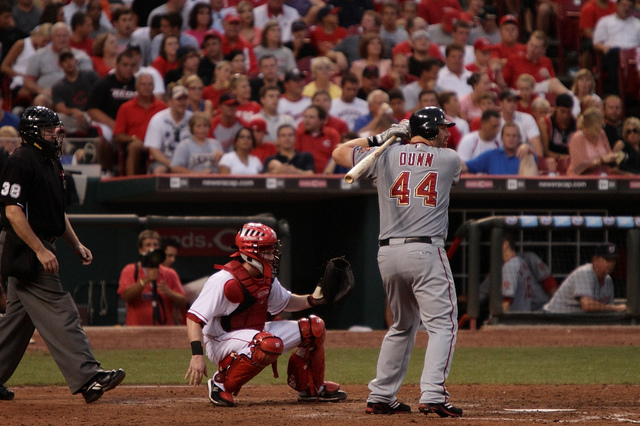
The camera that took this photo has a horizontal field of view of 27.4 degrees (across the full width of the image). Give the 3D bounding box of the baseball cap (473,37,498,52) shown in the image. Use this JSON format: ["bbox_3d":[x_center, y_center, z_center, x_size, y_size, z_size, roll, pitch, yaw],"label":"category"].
[{"bbox_3d":[2.652,-2.740,21.195,0.248,0.195,0.372,2,15,-31],"label":"baseball cap"}]

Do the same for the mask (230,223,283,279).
[{"bbox_3d":[-0.683,0.423,14.253,0.500,0.576,0.214,1,3,-5],"label":"mask"}]

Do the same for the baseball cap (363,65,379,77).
[{"bbox_3d":[0.786,-2.145,19.960,0.229,0.202,0.322,3,3,23],"label":"baseball cap"}]

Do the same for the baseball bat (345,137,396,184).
[{"bbox_3d":[0.553,-0.564,14.100,0.824,0.094,0.092,-39,21,-34],"label":"baseball bat"}]

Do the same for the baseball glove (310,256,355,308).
[{"bbox_3d":[0.116,0.756,14.417,0.561,0.424,0.250,-35,27,-11],"label":"baseball glove"}]

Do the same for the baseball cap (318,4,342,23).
[{"bbox_3d":[0.132,-3.223,21.161,0.363,0.118,0.252,-19,11,15],"label":"baseball cap"}]

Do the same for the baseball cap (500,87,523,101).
[{"bbox_3d":[2.824,-1.656,19.125,0.321,0.193,0.251,8,10,-9],"label":"baseball cap"}]

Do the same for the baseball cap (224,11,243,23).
[{"bbox_3d":[-1.331,-2.961,19.947,0.248,0.193,0.327,1,3,-5],"label":"baseball cap"}]

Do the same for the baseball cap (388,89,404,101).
[{"bbox_3d":[1.124,-1.745,19.485,0.226,0.163,0.290,1,3,2],"label":"baseball cap"}]

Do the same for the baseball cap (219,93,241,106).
[{"bbox_3d":[-1.292,-1.597,18.504,0.255,0.164,0.206,1,3,-7],"label":"baseball cap"}]

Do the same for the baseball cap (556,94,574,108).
[{"bbox_3d":[3.422,-1.555,18.363,0.227,0.187,0.170,2,3,9],"label":"baseball cap"}]

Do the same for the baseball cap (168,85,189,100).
[{"bbox_3d":[-1.983,-1.661,18.355,0.240,0.199,0.174,-4,22,9],"label":"baseball cap"}]

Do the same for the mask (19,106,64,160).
[{"bbox_3d":[-3.066,-0.905,14.574,0.567,0.616,0.471,1,7,-9],"label":"mask"}]
